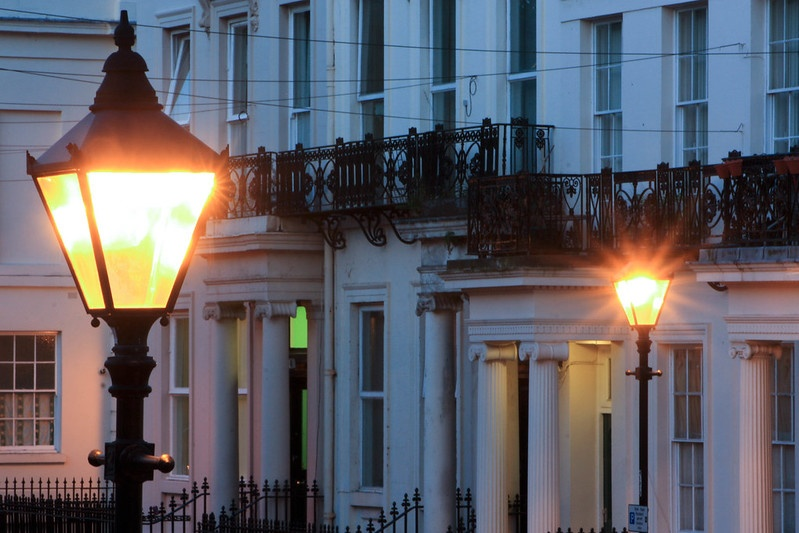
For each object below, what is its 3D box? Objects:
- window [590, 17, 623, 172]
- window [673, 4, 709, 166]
[{"bbox_3d":[3.386,-2.526,36.075,0.686,2.696,0.125,-11,17,-29],"label":"window"},{"bbox_3d":[4.582,-2.775,35.074,0.674,2.398,0.368,-6,-12,28],"label":"window"}]
